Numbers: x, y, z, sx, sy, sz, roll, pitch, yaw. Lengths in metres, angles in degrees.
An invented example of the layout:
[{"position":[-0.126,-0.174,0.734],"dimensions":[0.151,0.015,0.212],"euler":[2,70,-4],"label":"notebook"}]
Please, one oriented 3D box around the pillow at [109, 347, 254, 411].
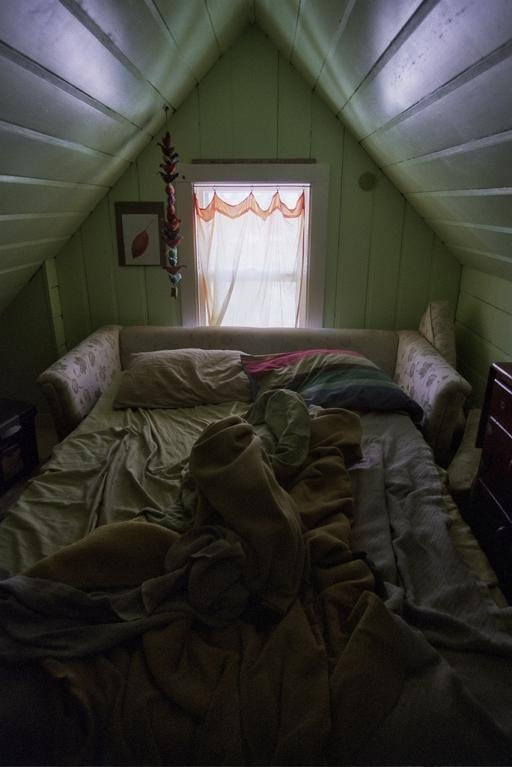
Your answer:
[{"position":[-0.357,-0.010,2.275],"dimensions":[0.432,0.141,0.351],"euler":[1,35,-5],"label":"pillow"}]
